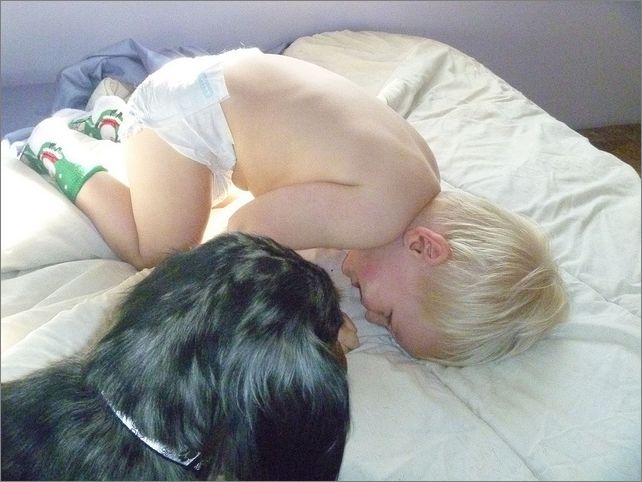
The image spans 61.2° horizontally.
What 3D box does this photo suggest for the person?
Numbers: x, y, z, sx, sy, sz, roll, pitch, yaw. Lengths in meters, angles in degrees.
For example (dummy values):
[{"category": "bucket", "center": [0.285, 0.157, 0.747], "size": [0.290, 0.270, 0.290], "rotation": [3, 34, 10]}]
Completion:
[{"category": "person", "center": [-0.080, -0.117, 1.734], "size": [1.496, 0.573, 0.745], "rotation": [35, 26, 1]}]
